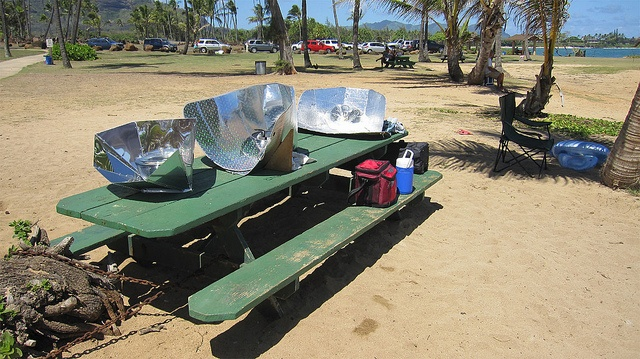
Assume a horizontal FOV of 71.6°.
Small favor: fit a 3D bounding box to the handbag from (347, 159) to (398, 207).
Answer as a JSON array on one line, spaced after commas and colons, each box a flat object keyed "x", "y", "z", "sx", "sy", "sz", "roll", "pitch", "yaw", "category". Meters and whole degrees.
[{"x": 0.908, "y": 0.074, "z": 7.514, "sx": 0.746, "sy": 0.591, "sz": 0.870, "roll": 4, "pitch": 17, "yaw": 19, "category": "handbag"}]

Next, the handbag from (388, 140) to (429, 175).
[{"x": 1.750, "y": -0.482, "z": 8.410, "sx": 1.013, "sy": 0.693, "sz": 0.570, "roll": -2, "pitch": 17, "yaw": -8, "category": "handbag"}]

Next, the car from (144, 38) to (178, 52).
[{"x": -17.572, "y": -14.689, "z": 48.467, "sx": 3.048, "sy": 1.125, "sz": 3.590, "roll": -12, "pitch": 26, "yaw": -30, "category": "car"}]

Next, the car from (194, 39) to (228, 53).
[{"x": -11.637, "y": -14.325, "z": 48.581, "sx": 3.930, "sy": 1.441, "sz": 1.722, "roll": -8, "pitch": 33, "yaw": -17, "category": "car"}]

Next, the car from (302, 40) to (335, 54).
[{"x": -0.102, "y": -15.206, "z": 50.973, "sx": 3.025, "sy": 1.255, "sz": 3.452, "roll": 5, "pitch": 22, "yaw": 10, "category": "car"}]

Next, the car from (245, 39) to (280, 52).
[{"x": -6.579, "y": -14.880, "z": 49.589, "sx": 3.277, "sy": 1.268, "sz": 1.858, "roll": -3, "pitch": 23, "yaw": -10, "category": "car"}]

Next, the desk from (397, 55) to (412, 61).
[{"x": 5.613, "y": -8.301, "z": 30.386, "sx": 0.862, "sy": 0.282, "sz": 0.368, "roll": 11, "pitch": 24, "yaw": 23, "category": "desk"}]

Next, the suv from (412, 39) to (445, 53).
[{"x": 12.113, "y": -14.454, "z": 48.795, "sx": 3.691, "sy": 1.369, "sz": 1.702, "roll": -1, "pitch": 41, "yaw": 3, "category": "suv"}]

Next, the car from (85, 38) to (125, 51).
[{"x": -23.096, "y": -14.503, "z": 47.486, "sx": 3.019, "sy": 1.050, "sz": 4.727, "roll": -9, "pitch": 24, "yaw": -23, "category": "car"}]
